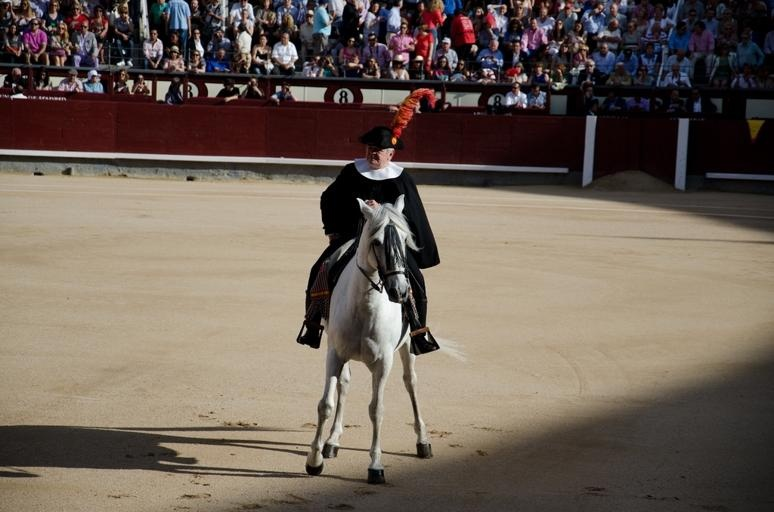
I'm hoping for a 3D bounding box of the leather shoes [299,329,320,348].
[{"bbox_3d":[-1.124,1.201,20.049,0.384,0.262,0.289,7,-4,3],"label":"leather shoes"}]

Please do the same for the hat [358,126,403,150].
[{"bbox_3d":[-0.100,-1.662,19.927,0.462,0.160,0.364,5,8,28],"label":"hat"}]
